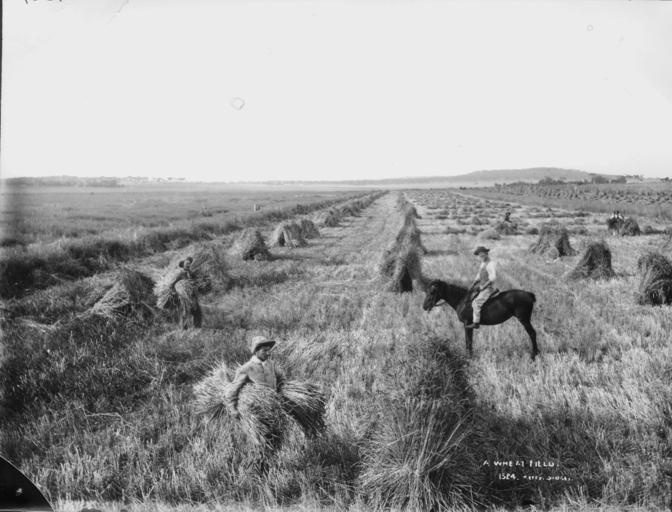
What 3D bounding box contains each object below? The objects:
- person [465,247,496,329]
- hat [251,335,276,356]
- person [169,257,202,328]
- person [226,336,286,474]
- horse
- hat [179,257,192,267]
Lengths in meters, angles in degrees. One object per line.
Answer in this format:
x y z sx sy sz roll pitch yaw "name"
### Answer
1.847 0.433 6.618 0.431 1.200 0.493 5 -19 -1 "person"
-0.909 1.096 6.546 0.179 0.138 0.261 -9 -17 -6 "hat"
-1.902 0.475 6.828 0.443 0.853 0.292 6 7 43 "person"
-1.007 1.507 6.561 0.718 0.955 0.284 0 5 -15 "person"
1.924 0.756 6.748 1.466 1.244 0.403 -2 18 5 "horse"
-1.975 0.076 6.958 0.125 0.148 0.105 1 -7 10 "hat"
